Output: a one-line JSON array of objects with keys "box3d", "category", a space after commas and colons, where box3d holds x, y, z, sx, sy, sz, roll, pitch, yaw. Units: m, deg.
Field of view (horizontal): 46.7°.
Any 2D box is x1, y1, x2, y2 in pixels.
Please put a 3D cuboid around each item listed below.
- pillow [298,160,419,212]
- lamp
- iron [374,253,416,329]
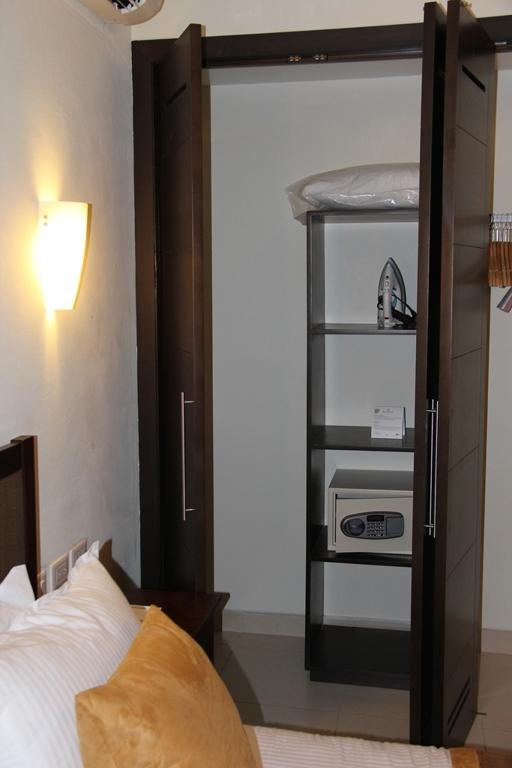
[{"box3d": [0.389, -0.718, 2.162, 0.193, 0.115, 0.331, -4, 10, 0], "category": "pillow"}, {"box3d": [-0.451, -0.274, 1.398, 0.091, 0.298, 0.090, -1, 2, -40], "category": "lamp"}, {"box3d": [0.543, -0.351, 2.299, 0.139, 0.279, 0.212, 0, 3, 17], "category": "iron"}]
